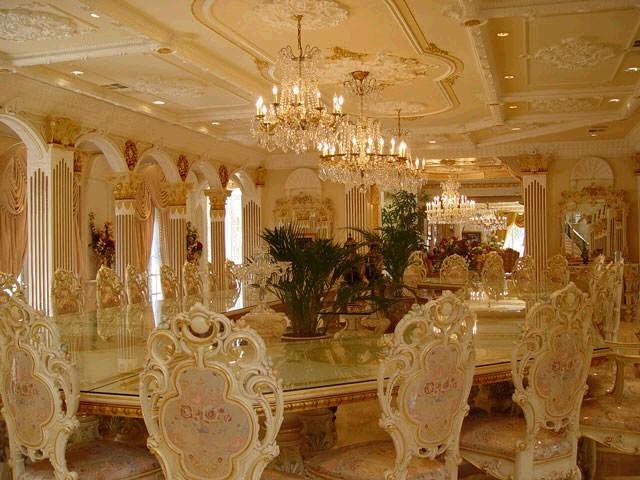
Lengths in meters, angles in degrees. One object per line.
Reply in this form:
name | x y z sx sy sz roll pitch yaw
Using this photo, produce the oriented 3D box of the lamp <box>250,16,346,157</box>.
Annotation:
lamp | -0.264 -1.741 5.888 1.205 1.990 1.256 0 -8 -2
